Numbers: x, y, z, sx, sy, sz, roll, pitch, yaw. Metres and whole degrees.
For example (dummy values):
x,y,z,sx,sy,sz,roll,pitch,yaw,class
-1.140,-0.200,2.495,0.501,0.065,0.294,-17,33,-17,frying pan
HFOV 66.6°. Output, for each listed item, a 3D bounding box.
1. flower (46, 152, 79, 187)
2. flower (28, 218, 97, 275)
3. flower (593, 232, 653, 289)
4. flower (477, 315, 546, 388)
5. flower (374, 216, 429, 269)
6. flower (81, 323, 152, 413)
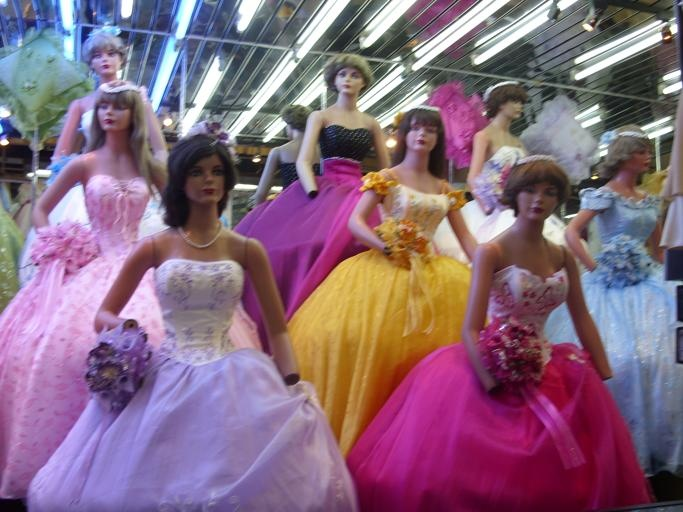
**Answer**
x,y,z,sx,sy,sz,roll,pitch,yaw,class
-1.741,-0.548,3.255,0.139,0.113,0.446,-22,7,-3,flower
-1.472,-0.008,2.773,0.297,0.229,0.283,4,-14,-37,flower
1.774,0.019,3.332,0.293,0.242,0.336,-3,34,3,flower
0.723,0.411,2.213,0.268,0.179,0.264,40,26,7,flower
0.328,-0.081,2.923,0.312,0.249,0.170,12,11,28,flower
-0.825,0.391,1.947,0.136,0.303,0.240,-21,-48,30,flower
